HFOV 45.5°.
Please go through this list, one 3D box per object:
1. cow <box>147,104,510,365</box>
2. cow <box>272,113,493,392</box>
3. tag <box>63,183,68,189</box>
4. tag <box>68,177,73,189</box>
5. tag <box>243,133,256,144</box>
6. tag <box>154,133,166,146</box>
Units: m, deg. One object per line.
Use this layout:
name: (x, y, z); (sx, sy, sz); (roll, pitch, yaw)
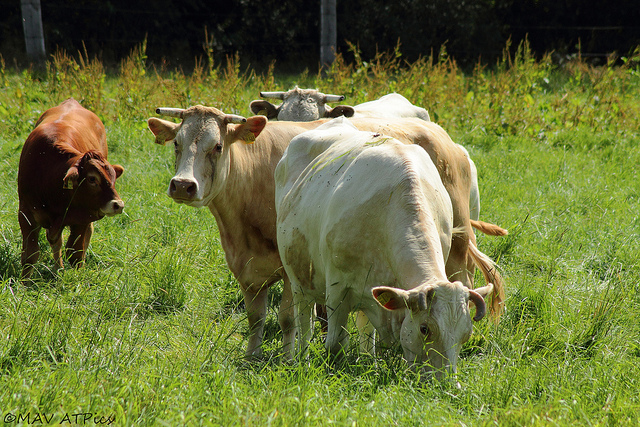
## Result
cow: (0.131, 0.268, 10.364); (5.154, 3.147, 1.404); (2, 3, -36)
cow: (0.555, 0.590, 8.929); (1.566, 2.709, 4.509); (2, 11, -20)
tag: (-3.201, -0.347, 9.606); (0.018, 0.061, 0.055); (-22, 3, -42)
tag: (-3.134, -0.378, 9.581); (0.053, 0.161, 0.116); (-1, 16, -19)
tag: (-0.850, -0.901, 9.230); (0.103, 0.113, 0.105); (-14, 38, -34)
tag: (-1.933, -0.906, 9.264); (0.081, 0.166, 0.039); (4, 21, 10)
